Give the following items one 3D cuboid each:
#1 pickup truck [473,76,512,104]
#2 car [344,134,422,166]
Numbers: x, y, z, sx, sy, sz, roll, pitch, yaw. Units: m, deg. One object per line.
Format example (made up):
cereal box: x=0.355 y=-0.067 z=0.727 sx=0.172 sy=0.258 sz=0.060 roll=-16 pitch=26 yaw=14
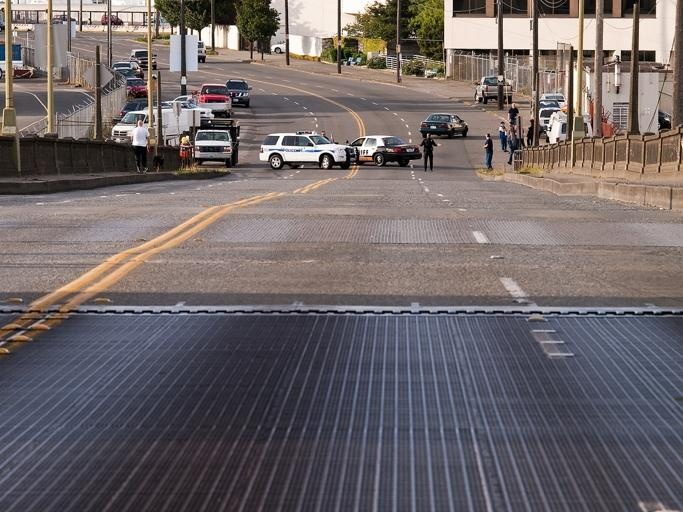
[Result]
pickup truck: x=15.217 y=-16.769 z=85.443 sx=2.053 sy=1.809 sz=4.167 roll=-2 pitch=14 yaw=-5
car: x=2.788 y=-6.565 z=52.406 sx=1.920 sy=1.864 sz=4.472 roll=-2 pitch=5 yaw=-34
